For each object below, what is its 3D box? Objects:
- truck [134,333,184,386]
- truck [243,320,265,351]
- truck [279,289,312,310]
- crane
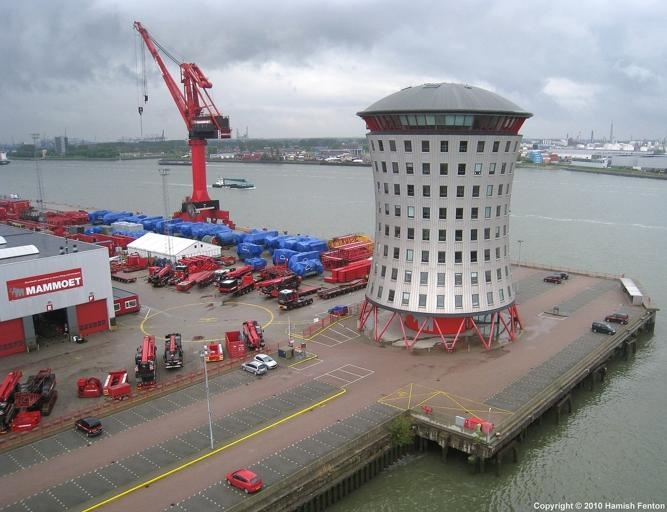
[{"bbox_3d":[-21.321,12.751,63.715,4.510,1.844,6.111,0,36,-4],"label":"truck"},{"bbox_3d":[-10.972,10.687,70.937,2.538,1.376,4.250,-5,25,-13],"label":"truck"},{"bbox_3d":[-5.895,6.920,86.514,2.540,2.518,6.515,3,9,38],"label":"truck"},{"bbox_3d":[-41.124,-36.408,158.539,14.513,53.831,35.245,-3,2,-20],"label":"crane"}]
